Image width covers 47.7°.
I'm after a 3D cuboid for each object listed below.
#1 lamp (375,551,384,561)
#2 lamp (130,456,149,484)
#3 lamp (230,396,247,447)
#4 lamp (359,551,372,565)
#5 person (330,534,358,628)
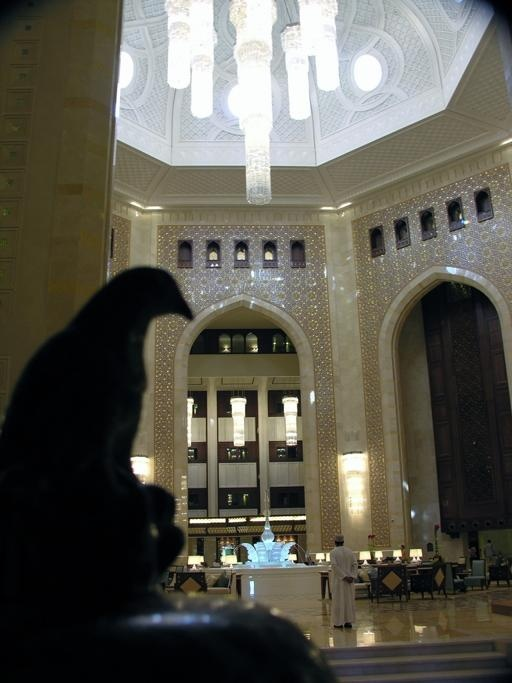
[{"bbox_3d":[2.456,4.299,11.647,0.177,0.167,0.227,-4,-17,10],"label":"lamp"},{"bbox_3d":[-2.441,2.621,11.932,0.318,0.500,0.662,-5,-17,14],"label":"lamp"},{"bbox_3d":[-0.539,2.270,16.319,0.493,1.322,0.495,-13,-18,37],"label":"lamp"},{"bbox_3d":[2.144,4.303,11.526,0.199,0.202,0.197,3,-13,5],"label":"lamp"},{"bbox_3d":[0.977,2.756,6.550,0.272,0.799,0.519,-3,-17,9],"label":"person"}]
